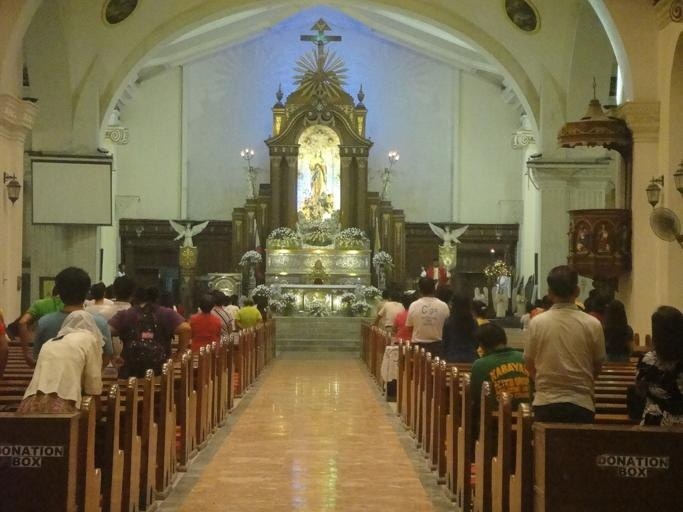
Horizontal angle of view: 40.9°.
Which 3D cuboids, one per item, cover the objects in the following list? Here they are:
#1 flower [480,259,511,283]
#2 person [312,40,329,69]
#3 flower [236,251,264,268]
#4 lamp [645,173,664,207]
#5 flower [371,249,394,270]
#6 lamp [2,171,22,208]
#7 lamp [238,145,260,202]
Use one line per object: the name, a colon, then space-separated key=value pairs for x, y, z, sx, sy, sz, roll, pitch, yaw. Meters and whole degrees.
flower: x=4.165 y=0.413 z=24.342 sx=0.688 sy=0.655 sz=0.727 roll=1 pitch=-2 yaw=34
person: x=-0.560 y=-5.871 z=26.631 sx=0.323 sy=0.784 sz=1.123 roll=2 pitch=7 yaw=-2
flower: x=-2.428 y=0.086 z=24.594 sx=0.507 sy=0.506 sz=0.526 roll=0 pitch=-6 yaw=16
lamp: x=4.755 y=-0.976 z=13.819 sx=0.242 sy=0.480 sz=0.651 roll=5 pitch=7 yaw=20
flower: x=1.094 y=0.101 z=25.116 sx=0.498 sy=0.508 sz=0.449 roll=-8 pitch=-8 yaw=25
lamp: x=-5.455 y=-1.126 z=15.229 sx=0.247 sy=0.515 sz=0.269 roll=6 pitch=8 yaw=30
lamp: x=-2.756 y=-2.541 z=27.462 sx=0.521 sy=1.417 sz=1.875 roll=1 pitch=7 yaw=-7
